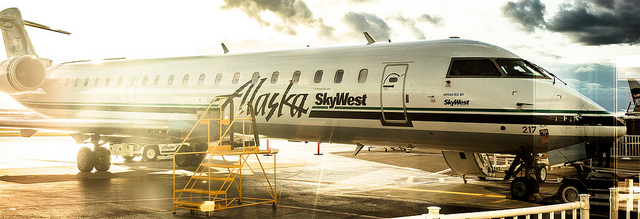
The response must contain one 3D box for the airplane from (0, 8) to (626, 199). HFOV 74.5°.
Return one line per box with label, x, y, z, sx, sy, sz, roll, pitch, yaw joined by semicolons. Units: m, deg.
airplane;-1.662;-0.643;28.012;27.955;5.353;21.042;1;3;32
